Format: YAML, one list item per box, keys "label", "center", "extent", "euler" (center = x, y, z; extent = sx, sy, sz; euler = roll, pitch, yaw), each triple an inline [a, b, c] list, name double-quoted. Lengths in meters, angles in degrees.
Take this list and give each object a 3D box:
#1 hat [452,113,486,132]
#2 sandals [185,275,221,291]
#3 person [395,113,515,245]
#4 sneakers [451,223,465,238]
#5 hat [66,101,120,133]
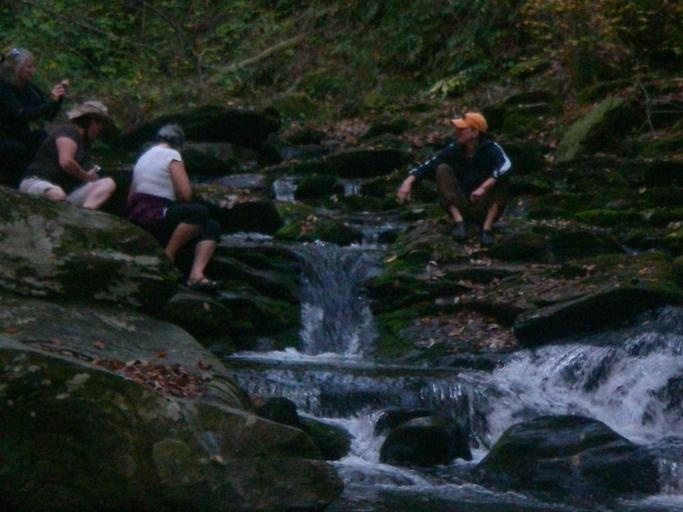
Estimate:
- label: "hat"
  center: [2.385, -2.473, 25.283]
  extent: [0.544, 0.234, 0.326]
  euler: [8, 8, -5]
- label: "sandals"
  center: [-2.317, 0.453, 24.099]
  extent: [0.638, 0.206, 0.220]
  euler: [-1, 2, 0]
- label: "person"
  center: [2.259, -1.463, 25.432]
  extent: [1.704, 2.376, 0.876]
  euler: [6, -8, 2]
- label: "sneakers"
  center: [2.219, -0.495, 25.438]
  extent: [0.270, 0.322, 0.211]
  euler: [9, -8, -19]
- label: "hat"
  center: [-4.130, -2.431, 23.572]
  extent: [0.603, 0.212, 0.527]
  euler: [7, -11, -17]
